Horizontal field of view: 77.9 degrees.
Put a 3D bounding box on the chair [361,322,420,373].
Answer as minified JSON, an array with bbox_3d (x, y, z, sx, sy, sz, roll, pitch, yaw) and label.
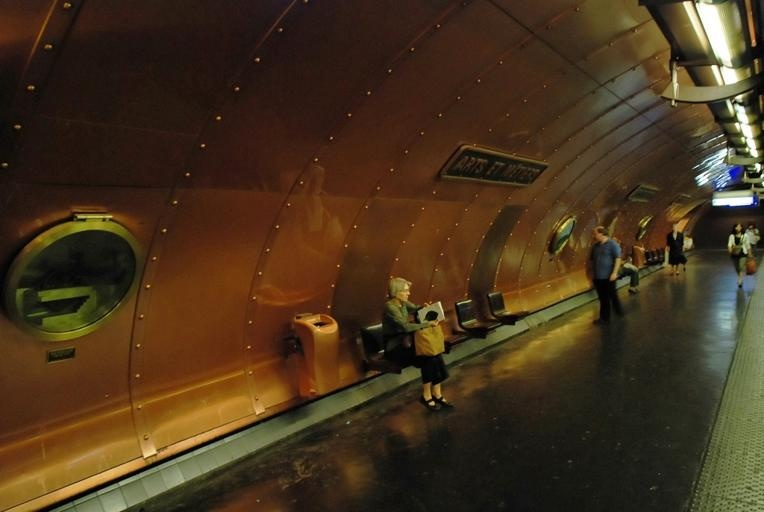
[{"bbox_3d":[-0.072,1.402,7.127,1.024,0.684,0.672,-4,-14,28],"label":"chair"}]

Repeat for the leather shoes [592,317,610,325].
[{"bbox_3d":[5.170,1.541,11.090,0.397,0.277,0.137,-10,-2,44],"label":"leather shoes"}]

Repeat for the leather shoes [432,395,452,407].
[{"bbox_3d":[0.869,2.105,6.841,0.300,0.122,0.112,8,6,6],"label":"leather shoes"}]

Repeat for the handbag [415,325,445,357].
[{"bbox_3d":[0.697,1.251,6.886,0.500,0.490,0.321,3,-11,-21],"label":"handbag"}]

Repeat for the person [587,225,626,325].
[{"bbox_3d":[5.457,0.446,11.518,0.711,2.298,1.495,-2,4,27],"label":"person"}]

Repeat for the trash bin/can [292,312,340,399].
[{"bbox_3d":[-0.888,1.395,6.540,0.498,1.103,0.457,-7,4,-44],"label":"trash bin/can"}]

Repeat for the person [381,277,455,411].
[{"bbox_3d":[0.526,1.265,6.985,0.959,1.850,0.561,-2,4,30],"label":"person"}]

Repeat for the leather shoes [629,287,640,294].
[{"bbox_3d":[8.215,1.162,15.396,0.483,0.168,0.200,0,-8,21],"label":"leather shoes"}]
